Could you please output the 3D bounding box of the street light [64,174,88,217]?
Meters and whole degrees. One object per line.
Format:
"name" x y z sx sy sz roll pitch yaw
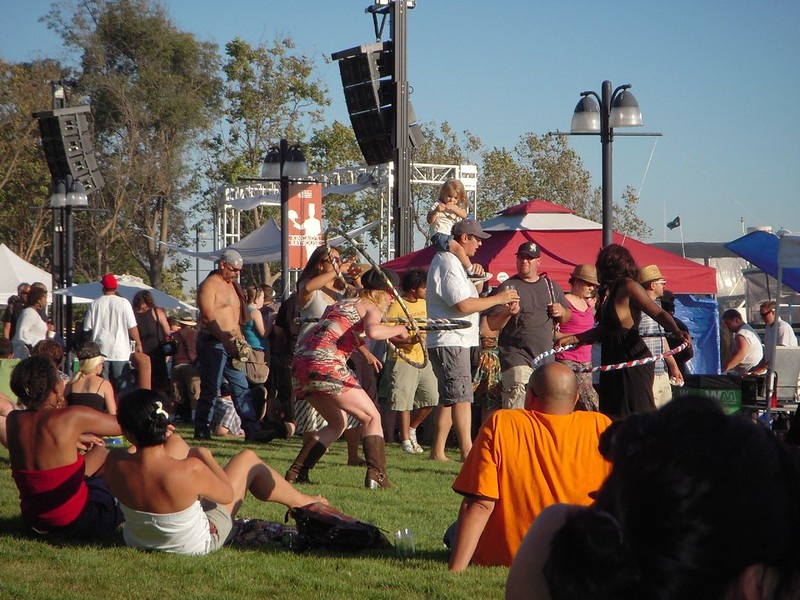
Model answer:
"street light" -4.745 -1.498 16.738 0.251 0.486 0.449 0 -4 -3

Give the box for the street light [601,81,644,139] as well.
"street light" 2.643 -2.259 13.844 0.453 0.645 0.226 6 11 35
